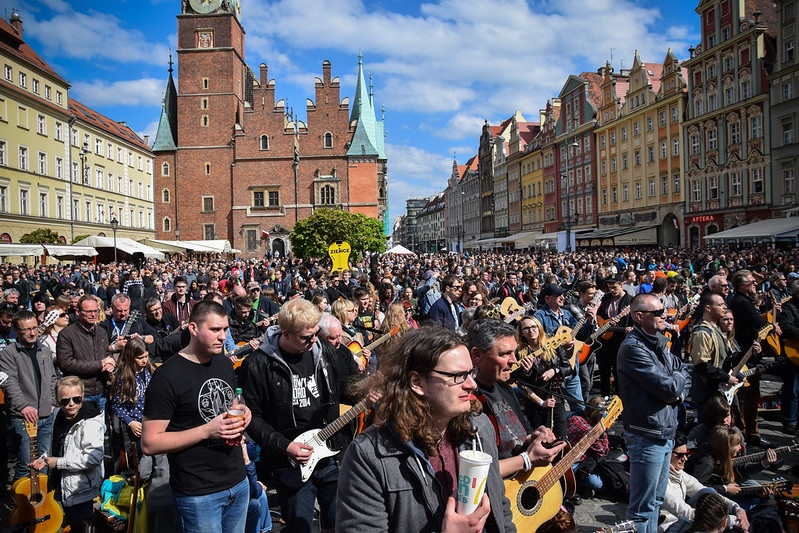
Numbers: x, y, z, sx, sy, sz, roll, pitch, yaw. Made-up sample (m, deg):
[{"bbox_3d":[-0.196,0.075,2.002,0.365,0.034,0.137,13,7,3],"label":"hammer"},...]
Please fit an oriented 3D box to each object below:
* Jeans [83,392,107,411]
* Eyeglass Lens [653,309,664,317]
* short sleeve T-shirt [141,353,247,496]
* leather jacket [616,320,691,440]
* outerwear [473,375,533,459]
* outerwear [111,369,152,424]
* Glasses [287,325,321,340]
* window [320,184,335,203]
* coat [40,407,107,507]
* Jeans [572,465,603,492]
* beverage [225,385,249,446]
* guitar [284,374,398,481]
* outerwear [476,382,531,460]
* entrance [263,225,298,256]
[{"bbox_3d":[-5.318,2.337,13.366,0.287,0.367,0.202,-16,-3,35],"label":"Jeans"},{"bbox_3d":[4.088,0.733,12.211,0.120,0.129,0.037,-4,15,-43],"label":"Eyeglass Lens"},{"bbox_3d":[-2.938,2.333,11.570,1.017,1.961,1.865,-4,-3,33],"label":"short sleeve T-shirt"},{"bbox_3d":[4.262,1.810,13.211,1.377,2.539,1.961,-3,-6,26],"label":"leather jacket"},{"bbox_3d":[1.515,2.178,11.324,0.733,1.075,0.349,-14,-15,-42],"label":"outerwear"},{"bbox_3d":[-4.294,2.185,12.424,0.660,0.999,0.240,5,-11,11],"label":"outerwear"},{"bbox_3d":[-1.445,0.982,11.484,0.405,0.224,0.213,1,-2,-21],"label":"Glasses"},{"bbox_3d":[-6.233,-6.308,65.990,1.481,2.167,0.155,0,-2,-4],"label":"window"},{"bbox_3d":[-5.301,3.097,12.730,0.807,1.621,0.457,1,-1,-10],"label":"coat"},{"bbox_3d":[3.236,3.676,13.339,0.773,0.330,0.119,7,-33,6],"label":"Jeans"},{"bbox_3d":[-2.397,2.205,11.195,0.242,0.813,0.611,1,-1,-11],"label":"beverage"},{"bbox_3d":[-0.887,2.301,10.907,1.799,0.600,0.243,-44,3,-19],"label":"guitar"},{"bbox_3d":[1.594,2.346,11.465,0.888,0.405,1.357,-10,31,-4],"label":"outerwear"},{"bbox_3d":[-9.922,-2.201,63.650,2.352,3.436,0.862,2,17,2],"label":"entrance"}]
